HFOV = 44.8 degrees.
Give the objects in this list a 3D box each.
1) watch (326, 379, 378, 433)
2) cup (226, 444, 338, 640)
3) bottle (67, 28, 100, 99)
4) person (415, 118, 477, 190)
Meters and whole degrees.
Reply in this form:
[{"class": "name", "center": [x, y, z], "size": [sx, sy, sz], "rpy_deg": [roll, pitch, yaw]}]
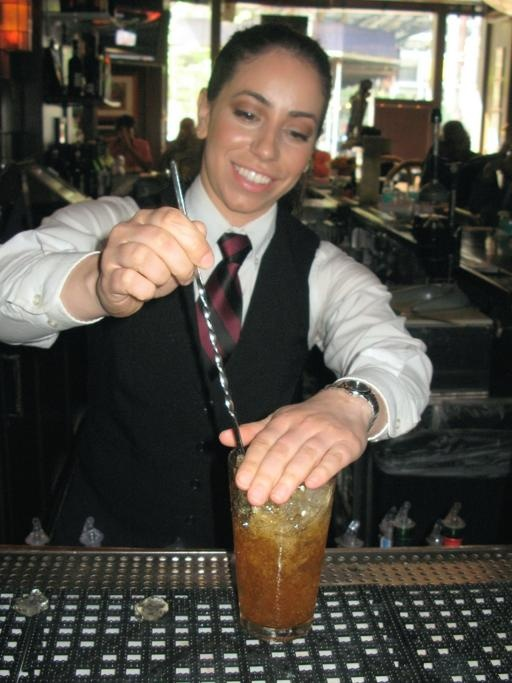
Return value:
[{"class": "watch", "center": [0.168, 0.114, 1.071], "size": [0.089, 0.089, 0.097], "rpy_deg": [5, 9, 11]}, {"class": "cup", "center": [0.027, 0.267, 0.725], "size": [0.101, 0.207, 0.069], "rpy_deg": [4, 10, 5]}, {"class": "bottle", "center": [-1.225, -1.955, 4.402], "size": [0.263, 0.436, 0.105], "rpy_deg": [0, 20, -7]}, {"class": "person", "center": [1.162, -1.223, 3.927], "size": [0.281, 0.188, 0.717], "rpy_deg": [-8, -19, 4]}]
